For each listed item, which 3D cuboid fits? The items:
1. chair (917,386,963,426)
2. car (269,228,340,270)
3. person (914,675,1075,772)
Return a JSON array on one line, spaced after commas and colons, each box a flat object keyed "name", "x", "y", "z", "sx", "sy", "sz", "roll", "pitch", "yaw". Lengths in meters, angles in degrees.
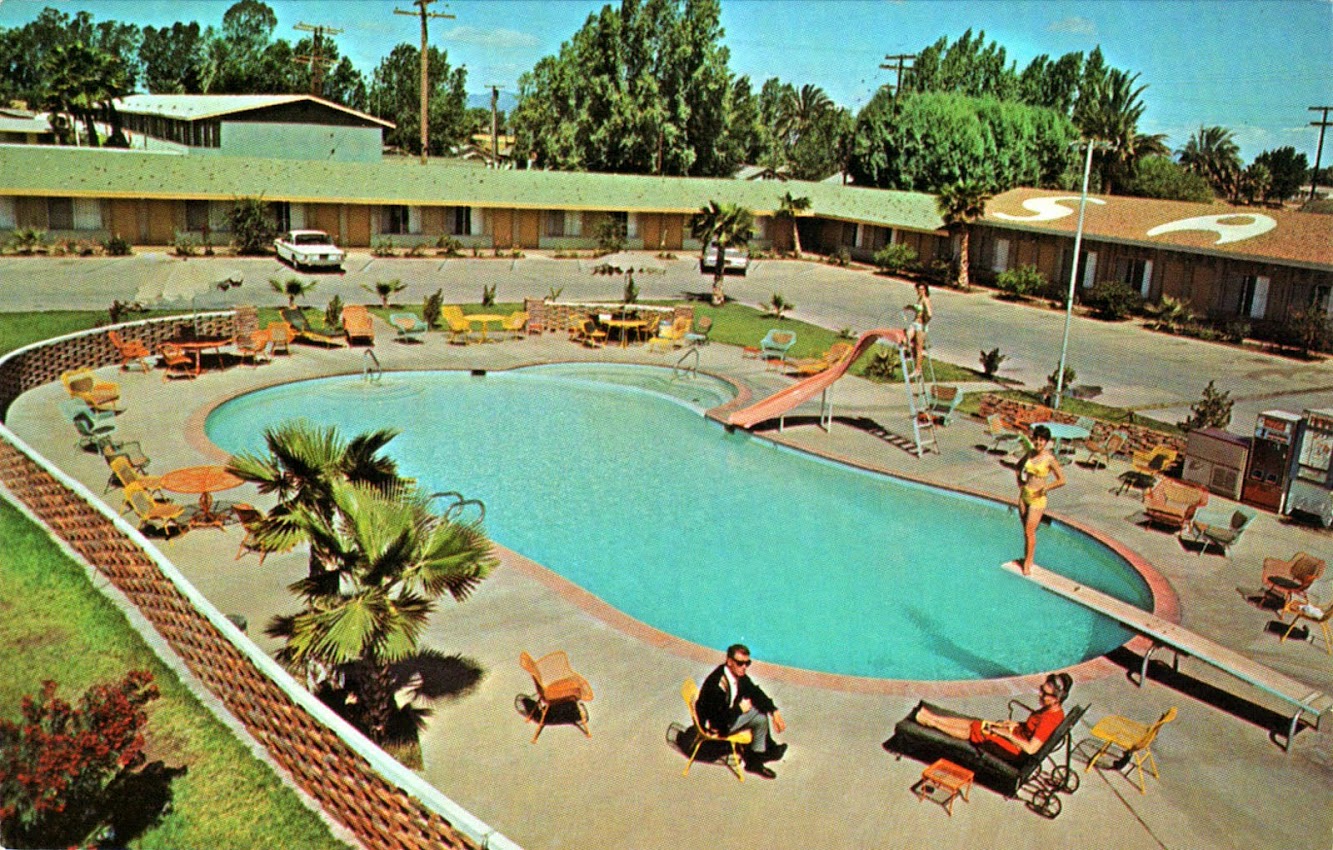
[{"name": "chair", "x": 8.163, "y": -0.568, "z": 24.322, "sx": 1.004, "sy": 1.242, "sz": 1.203, "roll": 4, "pitch": 5, "yaw": -31}, {"name": "car", "x": -19.820, "y": -9.673, "z": 44.690, "sx": 2.244, "sy": 1.834, "sz": 4.461, "roll": -12, "pitch": 23, "yaw": -38}, {"name": "person", "x": 4.295, "y": 3.781, "z": 10.967, "sx": 2.105, "sy": 1.262, "sz": 1.099, "roll": 3, "pitch": 9, "yaw": 40}]
